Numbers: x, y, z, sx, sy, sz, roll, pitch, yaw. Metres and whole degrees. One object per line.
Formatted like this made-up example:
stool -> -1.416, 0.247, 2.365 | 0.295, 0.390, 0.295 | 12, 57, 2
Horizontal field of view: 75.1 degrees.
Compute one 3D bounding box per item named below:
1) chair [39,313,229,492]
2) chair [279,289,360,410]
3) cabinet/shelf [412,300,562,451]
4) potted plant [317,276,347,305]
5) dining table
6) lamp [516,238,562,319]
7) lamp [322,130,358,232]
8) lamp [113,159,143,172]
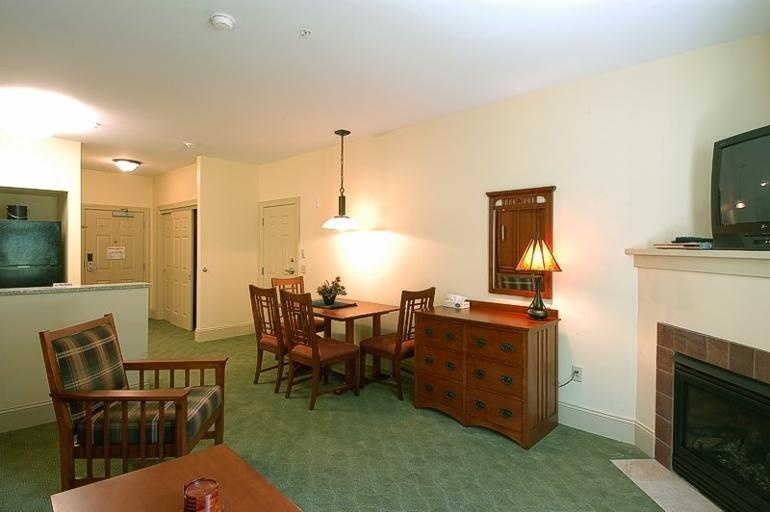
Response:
chair -> -2.115, 1.202, 4.665 | 1.444, 1.783, 1.389 | -1, -1, 0
chair -> -0.796, 0.940, 5.592 | 0.797, 1.286, 0.996 | -11, 18, -38
cabinet/shelf -> 0.932, 1.103, 5.418 | 1.980, 1.769, 1.078 | -1, -3, 43
potted plant -> -0.647, 0.421, 6.170 | 0.335, 0.336, 0.350 | -1, 0, -20
dining table -> -0.572, 0.911, 5.783 | 1.149, 1.152, 1.207 | -3, 5, -39
lamp -> 1.507, 0.204, 4.922 | 0.428, 0.773, 0.466 | 4, 15, 16
lamp -> -0.594, -0.914, 6.394 | 0.365, 1.358, 1.105 | -2, 14, -6
lamp -> -4.045, -1.446, 7.888 | 0.391, 0.210, 0.401 | -7, 16, -27
